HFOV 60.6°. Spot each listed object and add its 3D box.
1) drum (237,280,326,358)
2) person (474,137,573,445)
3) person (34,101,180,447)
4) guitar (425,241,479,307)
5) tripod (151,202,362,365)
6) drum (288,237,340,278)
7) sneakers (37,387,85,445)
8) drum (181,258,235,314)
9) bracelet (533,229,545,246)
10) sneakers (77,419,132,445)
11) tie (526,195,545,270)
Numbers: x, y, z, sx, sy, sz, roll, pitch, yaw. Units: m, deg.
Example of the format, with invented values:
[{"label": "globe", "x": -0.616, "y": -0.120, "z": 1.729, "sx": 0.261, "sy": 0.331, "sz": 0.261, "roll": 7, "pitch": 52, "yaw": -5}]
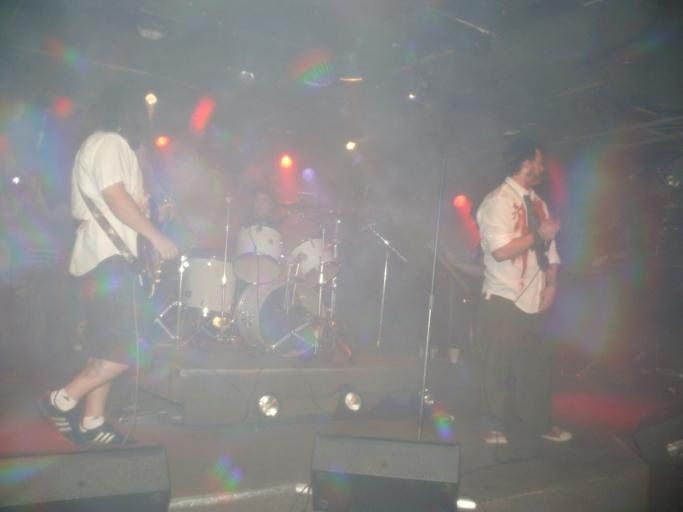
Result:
[{"label": "drum", "x": -0.631, "y": 0.618, "z": 5.796, "sx": 0.819, "sy": 0.764, "sz": 0.448, "roll": 0, "pitch": -11, "yaw": -7}, {"label": "person", "x": 1.569, "y": 0.323, "z": 5.179, "sx": 0.751, "sy": 2.561, "sz": 0.600, "roll": -4, "pitch": -11, "yaw": 16}, {"label": "person", "x": -1.803, "y": 0.106, "z": 4.610, "sx": 0.742, "sy": 2.672, "sz": 0.709, "roll": 6, "pitch": -13, "yaw": -34}, {"label": "guitar", "x": 1.311, "y": 0.179, "z": 6.617, "sx": 0.270, "sy": 0.655, "sz": 0.589, "roll": -25, "pitch": -13, "yaw": -32}, {"label": "tripod", "x": -0.842, "y": 0.605, "z": 6.172, "sx": 2.009, "sy": 1.598, "sz": 1.298, "roll": 14, "pitch": -18, "yaw": -24}, {"label": "drum", "x": -0.323, "y": 0.067, "z": 6.611, "sx": 0.521, "sy": 0.367, "sz": 0.551, "roll": -4, "pitch": -19, "yaw": -1}, {"label": "sneakers", "x": -2.141, "y": 1.260, "z": 4.511, "sx": 0.204, "sy": 0.205, "sz": 0.483, "roll": -19, "pitch": -57, "yaw": 23}, {"label": "drum", "x": -1.384, "y": 0.339, "z": 6.094, "sx": 0.512, "sy": 0.534, "sz": 0.493, "roll": 4, "pitch": -10, "yaw": -18}, {"label": "bracelet", "x": 1.737, "y": -0.164, "z": 5.103, "sx": 0.086, "sy": 0.112, "sz": 0.222, "roll": -6, "pitch": -13, "yaw": 20}, {"label": "sneakers", "x": -1.863, "y": 1.408, "z": 4.682, "sx": 0.436, "sy": 0.203, "sz": 0.156, "roll": 6, "pitch": -16, "yaw": -11}, {"label": "tie", "x": 1.725, "y": -0.203, "z": 5.171, "sx": 0.141, "sy": 0.719, "sz": 0.176, "roll": -9, "pitch": 0, "yaw": 1}]
